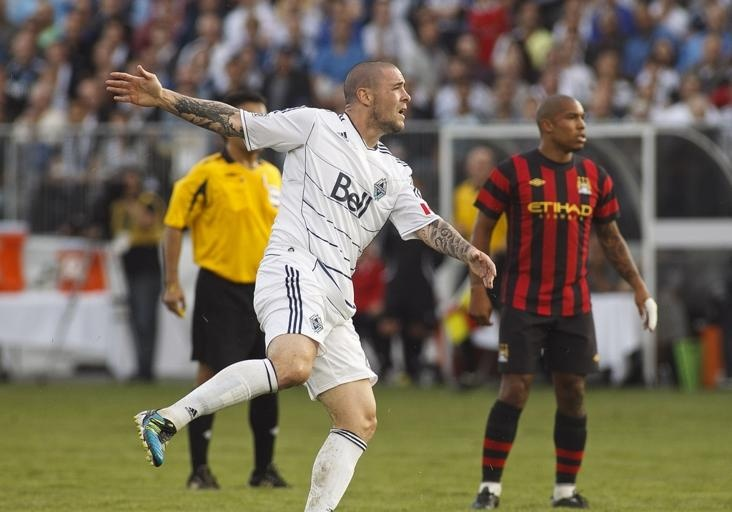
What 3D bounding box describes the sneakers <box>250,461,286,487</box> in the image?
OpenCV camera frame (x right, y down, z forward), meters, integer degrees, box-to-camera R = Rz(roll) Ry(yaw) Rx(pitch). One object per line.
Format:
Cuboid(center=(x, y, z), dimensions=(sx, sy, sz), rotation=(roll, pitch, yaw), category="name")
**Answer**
Cuboid(center=(-0.898, 2.094, 12.592), dimensions=(0.443, 0.290, 0.154), rotation=(3, -3, -3), category="sneakers")
